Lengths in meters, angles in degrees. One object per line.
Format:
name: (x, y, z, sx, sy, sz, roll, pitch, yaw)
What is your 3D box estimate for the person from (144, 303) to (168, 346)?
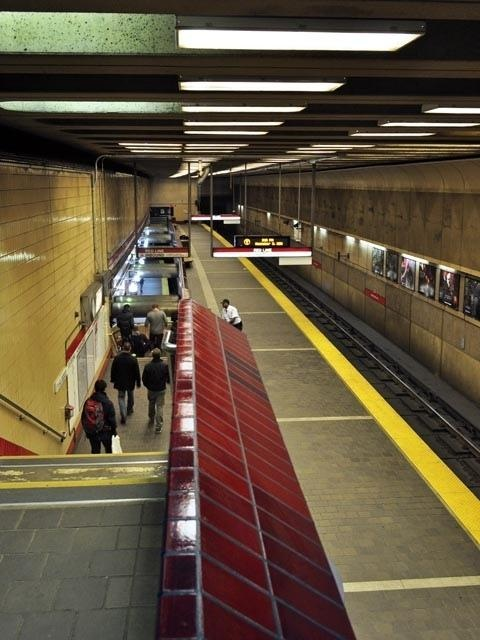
person: (-2.317, 0.169, 11.346, 0.606, 1.325, 2.023, -1, 12, -13)

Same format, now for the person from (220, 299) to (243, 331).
person: (-0.236, -0.159, 11.876, 0.538, 0.974, 1.060, 2, 11, 0)

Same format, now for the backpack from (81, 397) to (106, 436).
backpack: (-2.045, 1.371, 5.684, 0.301, 0.571, 0.216, 0, 11, -6)

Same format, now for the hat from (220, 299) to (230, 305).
hat: (-0.394, -0.503, 11.518, 0.154, 0.212, 0.218, 0, 1, -5)
